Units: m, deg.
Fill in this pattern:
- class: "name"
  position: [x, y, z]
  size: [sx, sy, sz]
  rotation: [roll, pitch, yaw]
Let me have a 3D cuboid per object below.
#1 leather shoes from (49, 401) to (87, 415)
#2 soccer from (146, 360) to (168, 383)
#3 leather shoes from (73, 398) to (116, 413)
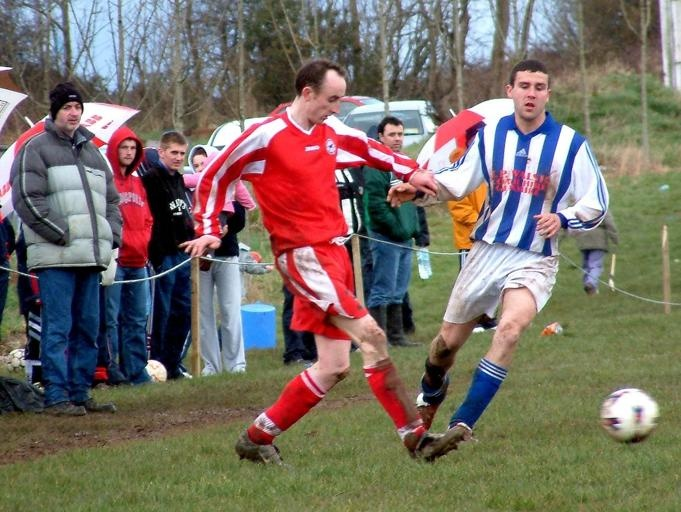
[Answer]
- class: "leather shoes"
  position: [-3.114, 1.738, 15.711]
  size: [0.457, 0.172, 0.152]
  rotation: [-1, -3, 6]
- class: "soccer"
  position: [-2.298, 1.464, 17.327]
  size: [0.245, 0.188, 0.249]
  rotation: [28, 2, -23]
- class: "leather shoes"
  position: [-2.794, 1.732, 15.914]
  size: [0.513, 0.200, 0.168]
  rotation: [-1, -1, 0]
